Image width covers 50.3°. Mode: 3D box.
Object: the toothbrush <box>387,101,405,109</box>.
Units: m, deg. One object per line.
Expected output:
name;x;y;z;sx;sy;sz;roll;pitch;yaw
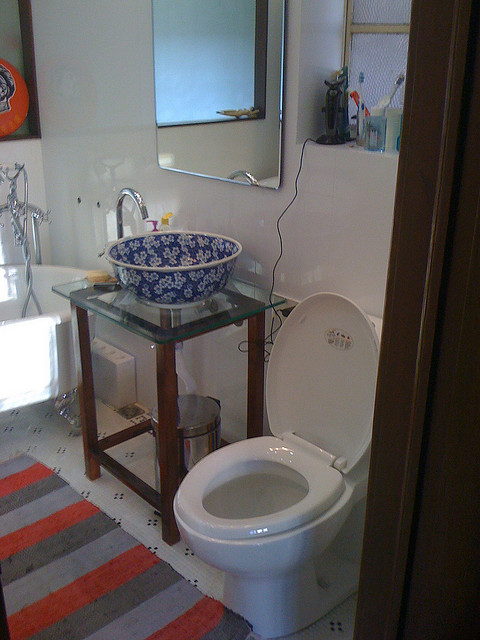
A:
toothbrush;0.443;-0.622;1.479;0.036;0.016;0.017;9;22;25

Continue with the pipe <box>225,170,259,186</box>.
pipe;0.005;-0.513;1.834;0.013;0.047;0.161;-15;25;-39

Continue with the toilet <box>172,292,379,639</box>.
toilet;0.067;0.292;1.372;0.504;0.653;0.434;-18;25;-42

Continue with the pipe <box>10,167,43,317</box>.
pipe;-1.096;-0.376;2.580;0.114;0.739;0.423;-7;19;-21

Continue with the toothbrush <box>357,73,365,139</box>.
toothbrush;0.363;-0.636;1.534;0.013;0.192;0.030;13;25;37

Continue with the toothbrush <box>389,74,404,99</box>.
toothbrush;0.444;-0.662;1.479;0.018;0.079;0.025;29;18;26
